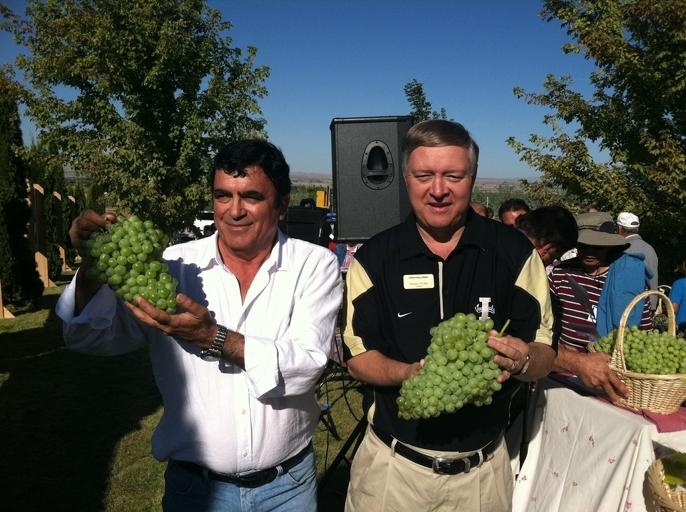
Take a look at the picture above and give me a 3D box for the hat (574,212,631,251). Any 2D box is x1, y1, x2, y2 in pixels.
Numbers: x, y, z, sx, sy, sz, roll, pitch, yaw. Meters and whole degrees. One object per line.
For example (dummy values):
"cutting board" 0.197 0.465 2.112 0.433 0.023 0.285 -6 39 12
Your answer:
"hat" 2.805 -0.271 5.038 0.548 0.345 0.538 2 1 0

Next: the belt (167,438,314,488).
"belt" -0.668 1.423 3.109 0.929 0.158 0.194 -1 12 -11

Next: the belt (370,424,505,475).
"belt" 0.670 1.364 3.240 0.926 0.220 0.233 2 12 3

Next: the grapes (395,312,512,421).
"grapes" 0.649 0.673 2.814 0.630 0.617 0.220 1 11 -1

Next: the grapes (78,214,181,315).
"grapes" -1.270 0.046 2.805 0.563 0.537 0.225 2 11 3
